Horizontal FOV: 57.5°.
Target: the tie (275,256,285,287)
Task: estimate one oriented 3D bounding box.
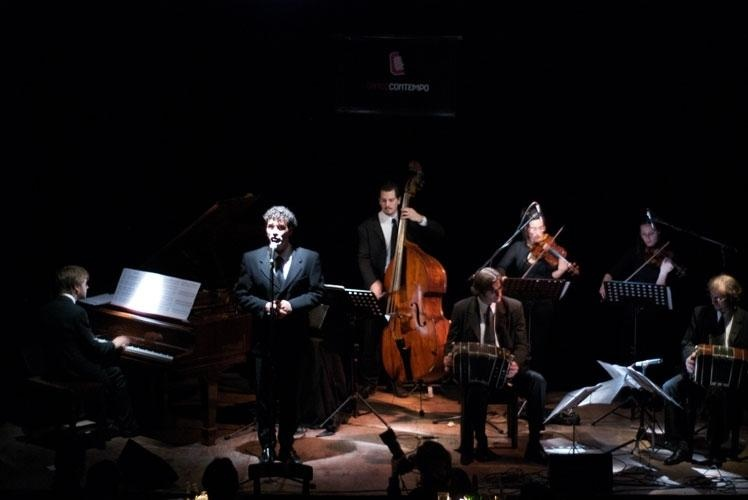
[{"bbox_3d":[-0.914,0.183,6.661,0.128,0.219,0.057,-2,1,15],"label":"tie"}]

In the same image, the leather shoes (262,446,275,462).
[{"bbox_3d":[-0.987,1.922,6.396,0.104,0.174,0.168,4,-9,-23],"label":"leather shoes"}]

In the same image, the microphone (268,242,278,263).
[{"bbox_3d":[-0.948,0.021,6.397,0.054,0.197,0.059,-2,-11,3],"label":"microphone"}]

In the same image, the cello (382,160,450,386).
[{"bbox_3d":[0.469,0.221,7.955,0.782,2.611,0.507,-1,-10,6],"label":"cello"}]

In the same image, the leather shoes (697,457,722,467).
[{"bbox_3d":[3.387,2.137,6.858,0.121,0.051,0.125,-1,-1,28],"label":"leather shoes"}]

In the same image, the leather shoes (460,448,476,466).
[{"bbox_3d":[0.924,2.065,6.811,0.157,0.167,0.140,0,-8,0],"label":"leather shoes"}]

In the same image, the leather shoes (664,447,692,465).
[{"bbox_3d":[3.048,2.078,6.865,0.296,0.167,0.084,3,-11,-15],"label":"leather shoes"}]

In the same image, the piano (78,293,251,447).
[{"bbox_3d":[-2.136,1.013,7.522,1.664,1.352,1.602,3,3,36],"label":"piano"}]

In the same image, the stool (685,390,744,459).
[{"bbox_3d":[3.547,1.792,7.156,0.610,0.810,0.205,4,0,-11],"label":"stool"}]

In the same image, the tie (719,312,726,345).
[{"bbox_3d":[3.622,0.822,7.114,0.050,0.226,0.117,4,3,8],"label":"tie"}]

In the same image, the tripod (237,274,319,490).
[{"bbox_3d":[-0.894,1.223,6.493,0.759,2.022,0.890,6,-11,-28],"label":"tripod"}]

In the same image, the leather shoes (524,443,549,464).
[{"bbox_3d":[1.617,2.051,6.824,0.196,0.151,0.062,4,0,30],"label":"leather shoes"}]

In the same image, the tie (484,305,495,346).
[{"bbox_3d":[1.191,0.804,7.083,0.157,0.327,0.064,-4,-8,15],"label":"tie"}]

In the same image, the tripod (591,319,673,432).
[{"bbox_3d":[2.982,1.454,7.786,0.884,1.180,0.905,19,-15,-34],"label":"tripod"}]

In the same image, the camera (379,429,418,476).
[{"bbox_3d":[0.238,1.830,6.224,0.169,0.459,0.256,-25,-18,-38],"label":"camera"}]

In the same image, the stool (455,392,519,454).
[{"bbox_3d":[1.262,1.713,7.057,0.516,0.599,0.523,2,-1,-25],"label":"stool"}]

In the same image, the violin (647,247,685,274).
[{"bbox_3d":[3.567,0.140,8.403,0.453,0.253,0.140,41,7,12],"label":"violin"}]

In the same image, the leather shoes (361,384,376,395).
[{"bbox_3d":[-0.082,1.765,8.633,0.154,0.087,0.219,-1,0,5],"label":"leather shoes"}]

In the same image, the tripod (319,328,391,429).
[{"bbox_3d":[-0.247,1.478,7.899,0.855,1.154,0.907,0,5,3],"label":"tripod"}]

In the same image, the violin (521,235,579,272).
[{"bbox_3d":[2.103,0.033,8.167,0.629,0.330,0.132,43,5,5],"label":"violin"}]
